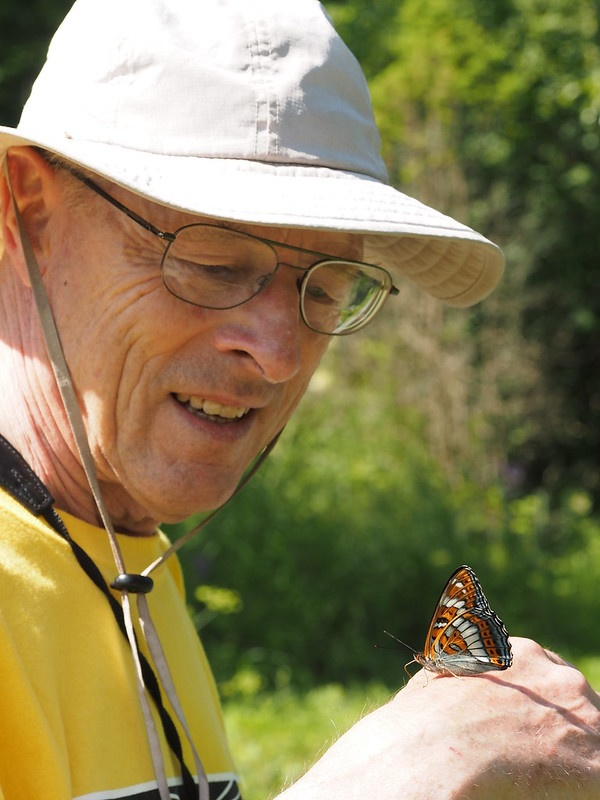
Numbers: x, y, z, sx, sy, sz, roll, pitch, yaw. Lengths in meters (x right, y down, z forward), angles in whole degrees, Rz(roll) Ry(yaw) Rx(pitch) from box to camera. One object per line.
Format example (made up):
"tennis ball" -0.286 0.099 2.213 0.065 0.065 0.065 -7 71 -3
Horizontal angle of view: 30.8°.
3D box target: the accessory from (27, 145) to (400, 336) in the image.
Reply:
"accessory" -0.183 -0.408 2.463 0.545 0.535 0.117 21 97 42

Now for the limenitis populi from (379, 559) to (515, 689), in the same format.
"limenitis populi" 0.258 0.502 2.378 0.318 0.200 0.231 8 52 -31
